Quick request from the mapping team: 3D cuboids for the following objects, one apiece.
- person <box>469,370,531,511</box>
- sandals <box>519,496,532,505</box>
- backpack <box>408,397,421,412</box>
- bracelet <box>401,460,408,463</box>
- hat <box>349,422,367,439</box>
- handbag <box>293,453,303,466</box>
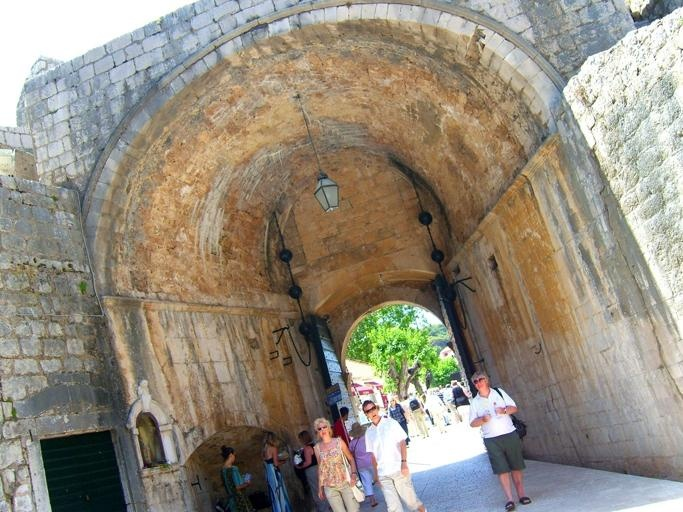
[{"bbox_3d":[1.702,1.928,5.205,0.501,1.347,0.942,-18,-18,14],"label":"person"},{"bbox_3d":[1.841,2.429,4.830,0.118,0.068,0.142,-21,-20,11],"label":"sandals"},{"bbox_3d":[2.310,4.671,15.180,0.404,0.457,0.419,0,-2,17],"label":"backpack"},{"bbox_3d":[0.583,1.914,4.512,0.018,0.036,0.050,1,-26,-39],"label":"bracelet"},{"bbox_3d":[0.289,2.874,7.997,0.385,0.208,0.495,-4,-12,-3],"label":"hat"},{"bbox_3d":[-0.663,3.095,7.401,0.095,0.183,0.168,0,21,0],"label":"handbag"}]
